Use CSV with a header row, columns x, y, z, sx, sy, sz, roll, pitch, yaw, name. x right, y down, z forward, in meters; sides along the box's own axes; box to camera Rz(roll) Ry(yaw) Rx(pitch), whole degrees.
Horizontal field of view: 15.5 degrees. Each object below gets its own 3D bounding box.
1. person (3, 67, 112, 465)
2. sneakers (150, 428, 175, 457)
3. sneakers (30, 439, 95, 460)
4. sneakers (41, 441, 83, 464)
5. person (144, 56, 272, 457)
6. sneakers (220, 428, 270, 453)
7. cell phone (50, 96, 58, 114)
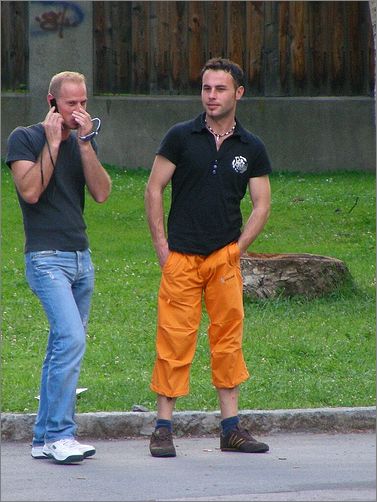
x,y,z,sx,sy,sz,roll,pitch,yaw,name
-0.874,0.116,9.413,0.675,2.550,0.926,0,12,-4,person
-0.178,1.307,9.550,0.183,0.210,0.152,0,13,-3,sneakers
-0.846,1.332,9.290,0.275,0.145,0.201,-1,-1,24,sneakers
-0.845,1.339,9.242,0.292,0.156,0.118,-7,-11,42,sneakers
0.134,0.034,9.667,0.871,2.649,0.842,0,12,-2,person
0.376,1.319,9.689,0.374,0.211,0.143,-2,-7,19,sneakers
-0.919,-1.004,9.490,0.020,0.093,0.057,-5,-5,-27,cell phone
